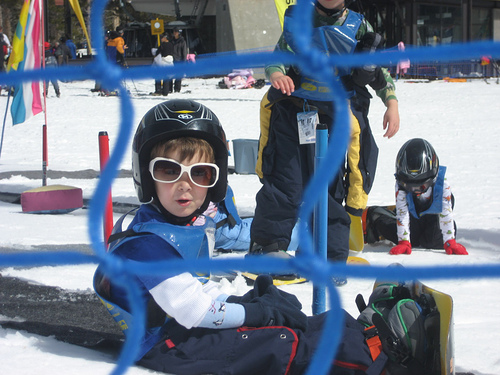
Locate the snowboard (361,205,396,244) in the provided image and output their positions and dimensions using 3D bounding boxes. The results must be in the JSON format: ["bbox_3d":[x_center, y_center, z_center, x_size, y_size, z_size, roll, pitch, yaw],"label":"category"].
[{"bbox_3d":[0.941,0.267,5.806,0.229,0.124,0.318,-2,9,7],"label":"snowboard"}]

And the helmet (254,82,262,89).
[{"bbox_3d":[0.192,-2.450,18.347,0.112,0.148,0.271,-3,10,-22],"label":"helmet"}]

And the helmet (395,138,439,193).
[{"bbox_3d":[1.231,-0.194,5.547,0.299,0.356,0.410,8,39,27],"label":"helmet"}]

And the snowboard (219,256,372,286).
[{"bbox_3d":[0.379,0.540,4.869,0.781,0.110,0.396,-2,0,-24],"label":"snowboard"}]

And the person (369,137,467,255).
[{"bbox_3d":[1.247,0.015,5.671,0.812,0.812,0.741,-1,3,30],"label":"person"}]

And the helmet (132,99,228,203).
[{"bbox_3d":[-0.357,-0.216,3.891,0.410,0.461,0.525,1,21,-6],"label":"helmet"}]

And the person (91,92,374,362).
[{"bbox_3d":[-0.125,0.202,3.598,1.216,1.184,1.965,-2,9,-12],"label":"person"}]

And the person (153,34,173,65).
[{"bbox_3d":[-1.663,-2.694,14.944,0.325,0.569,0.976,-1,9,-7],"label":"person"}]
